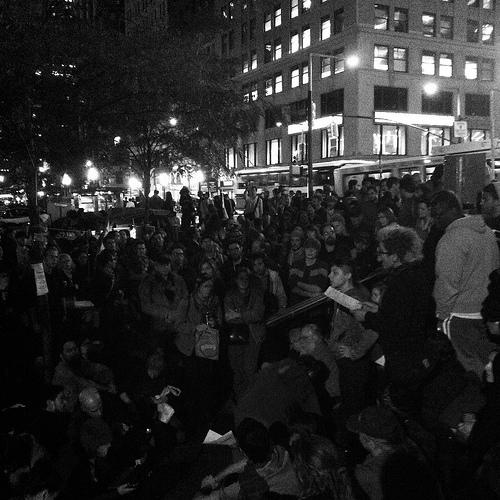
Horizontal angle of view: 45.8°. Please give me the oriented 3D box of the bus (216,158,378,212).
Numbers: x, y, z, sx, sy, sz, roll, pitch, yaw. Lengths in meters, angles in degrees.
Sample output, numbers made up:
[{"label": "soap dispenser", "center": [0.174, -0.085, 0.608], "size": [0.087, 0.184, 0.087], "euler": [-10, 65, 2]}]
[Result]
[{"label": "bus", "center": [2.046, -3.152, 34.574], "size": [11.343, 4.124, 3.494], "euler": [8, 15, 44]}]
